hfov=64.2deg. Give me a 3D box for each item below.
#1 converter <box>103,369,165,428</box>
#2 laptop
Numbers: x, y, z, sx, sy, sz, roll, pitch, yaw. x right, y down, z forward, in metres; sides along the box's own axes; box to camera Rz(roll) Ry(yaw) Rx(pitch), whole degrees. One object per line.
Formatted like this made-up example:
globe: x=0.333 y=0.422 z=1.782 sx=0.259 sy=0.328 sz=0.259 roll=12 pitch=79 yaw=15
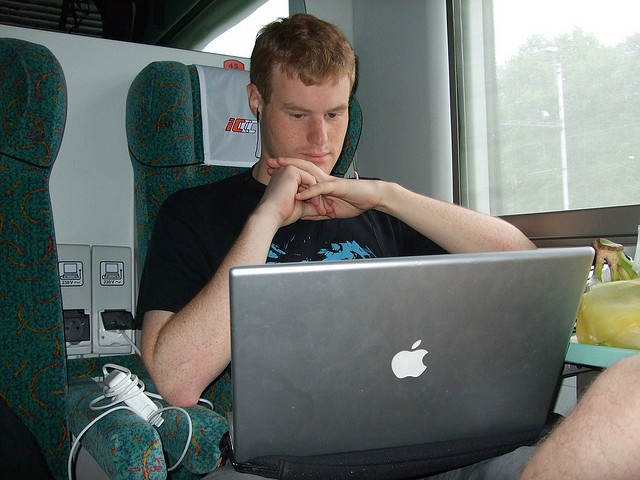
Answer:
converter: x=-0.462 y=0.377 z=1.225 sx=0.229 sy=0.117 sz=0.102 roll=-1 pitch=5 yaw=39
laptop: x=0.137 y=0.179 z=0.844 sx=0.513 sy=0.370 sz=0.376 roll=0 pitch=14 yaw=-11
